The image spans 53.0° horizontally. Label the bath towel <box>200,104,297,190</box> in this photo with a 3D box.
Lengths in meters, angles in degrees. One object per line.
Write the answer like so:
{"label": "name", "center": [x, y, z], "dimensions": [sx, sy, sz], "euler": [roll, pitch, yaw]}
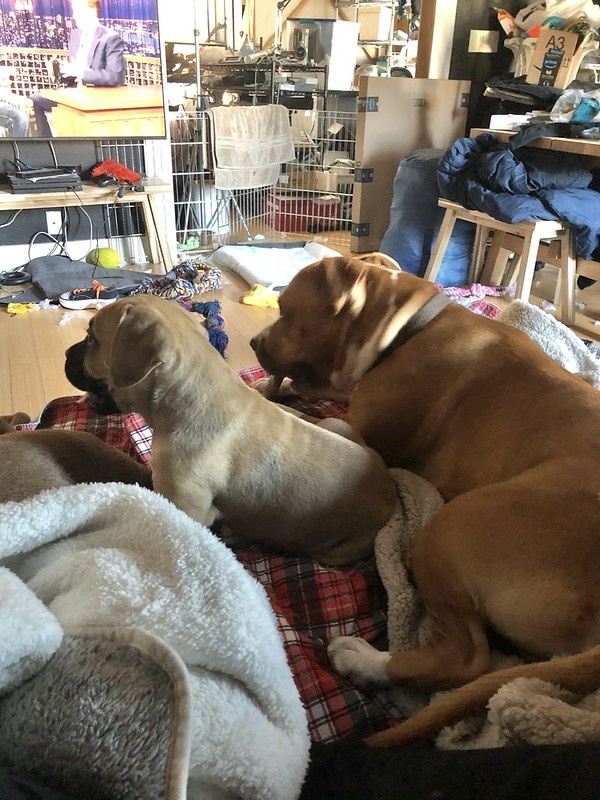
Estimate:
{"label": "bath towel", "center": [-0.373, -1.700, 3.995], "dimensions": [0.947, 0.616, 0.161], "euler": [-22, 33, -35]}

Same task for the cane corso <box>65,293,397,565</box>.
{"label": "cane corso", "center": [-0.149, 0.009, 1.144], "dimensions": [0.717, 0.435, 0.320], "euler": [9, 22, 6]}

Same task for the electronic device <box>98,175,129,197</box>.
{"label": "electronic device", "center": [-1.103, -1.272, 3.516], "dimensions": [0.167, 0.050, 0.159], "euler": [27, 27, 5]}

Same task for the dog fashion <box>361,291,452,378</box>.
{"label": "dog fashion", "center": [0.229, -0.156, 1.330], "dimensions": [0.242, 0.140, 0.165], "euler": [5, 24, 7]}
